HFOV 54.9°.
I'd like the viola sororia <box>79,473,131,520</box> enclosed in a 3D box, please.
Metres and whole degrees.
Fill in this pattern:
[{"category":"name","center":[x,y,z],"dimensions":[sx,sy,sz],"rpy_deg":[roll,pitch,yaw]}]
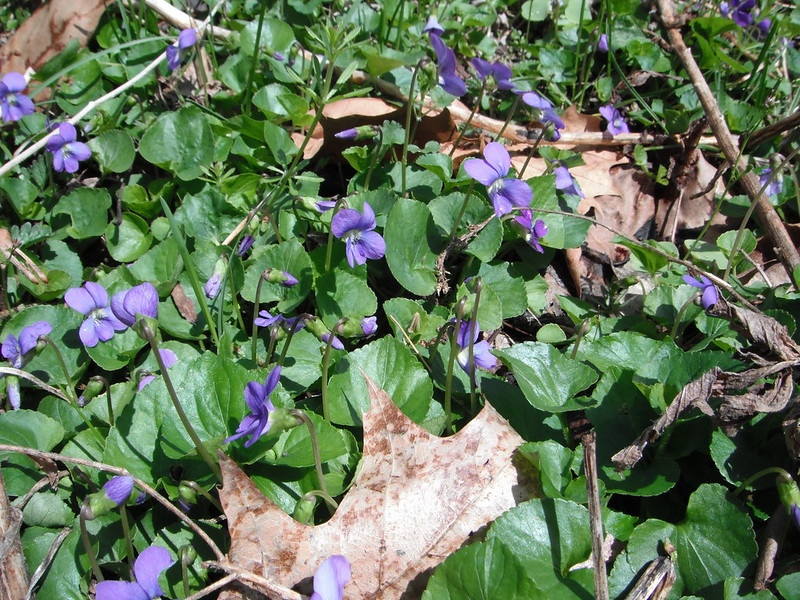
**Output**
[{"category":"viola sororia","center":[-1.112,0.752,2.940],"dimensions":[0.213,0.116,0.126],"rpy_deg":[-36,83,-24]}]
